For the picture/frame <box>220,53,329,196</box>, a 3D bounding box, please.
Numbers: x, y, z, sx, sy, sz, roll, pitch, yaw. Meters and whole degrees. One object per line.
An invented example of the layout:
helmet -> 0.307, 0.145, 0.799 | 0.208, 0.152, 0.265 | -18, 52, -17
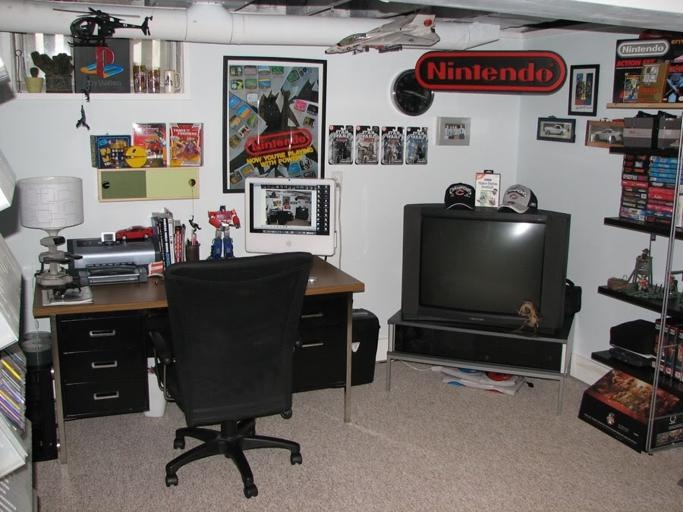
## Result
picture/frame -> -0.518, -0.975, 4.015 | 1.022, 1.275, 0.044 | -3, 13, -15

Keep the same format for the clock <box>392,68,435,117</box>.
clock -> 0.539, -1.256, 4.332 | 0.333, 0.344, 0.078 | 2, 12, -29

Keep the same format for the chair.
chair -> -0.568, 0.602, 2.915 | 0.844, 1.343, 0.564 | -2, 14, -5

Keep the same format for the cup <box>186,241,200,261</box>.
cup -> -1.005, -0.033, 3.735 | 0.111, 0.120, 0.082 | 6, 13, 22

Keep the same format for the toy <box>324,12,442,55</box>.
toy -> 0.229, -1.072, 2.747 | 0.381, 0.118, 0.362 | -17, 44, -3

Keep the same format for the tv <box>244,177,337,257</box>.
tv -> -0.339, -0.269, 3.710 | 0.534, 0.459, 0.196 | 0, 2, 0

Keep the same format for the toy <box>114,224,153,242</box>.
toy -> -1.367, -0.144, 3.697 | 0.200, 0.067, 0.124 | 0, 5, -26

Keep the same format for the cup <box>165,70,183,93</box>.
cup -> -1.171, -1.206, 3.868 | 0.155, 0.168, 0.090 | 1, 9, 1

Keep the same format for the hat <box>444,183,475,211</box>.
hat -> 0.827, -0.408, 3.878 | 0.150, 0.128, 0.213 | 4, 16, 12

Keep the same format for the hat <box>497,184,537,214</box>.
hat -> 1.207, -0.390, 3.770 | 0.169, 0.134, 0.256 | 8, 12, 30

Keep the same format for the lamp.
lamp -> -1.711, -0.145, 3.330 | 0.337, 0.613, 0.515 | -8, 16, -27

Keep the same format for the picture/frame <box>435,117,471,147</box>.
picture/frame -> 0.884, -0.986, 4.553 | 0.362, 0.287, 0.204 | -1, 5, -10

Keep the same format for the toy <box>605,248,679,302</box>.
toy -> 1.973, 0.113, 3.610 | 0.404, 0.268, 0.273 | 8, 11, 42
